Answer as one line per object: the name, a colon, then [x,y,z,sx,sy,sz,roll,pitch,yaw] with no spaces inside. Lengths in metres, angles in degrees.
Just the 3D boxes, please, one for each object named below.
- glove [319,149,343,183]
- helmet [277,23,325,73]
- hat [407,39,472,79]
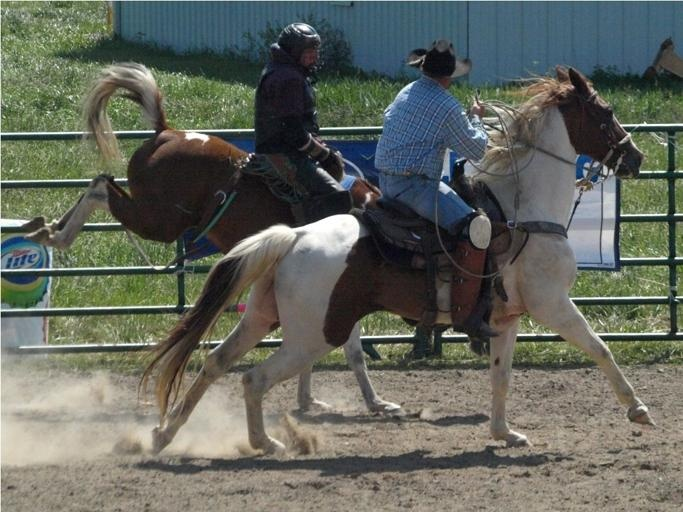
glove: [-0.092,-1.054,14.481,0.261,0.366,0.116,-38,19,-27]
helmet: [-0.504,-2.473,14.443,0.471,0.538,0.429,11,34,6]
hat: [1.110,-2.170,13.814,0.753,0.397,0.950,-3,8,27]
